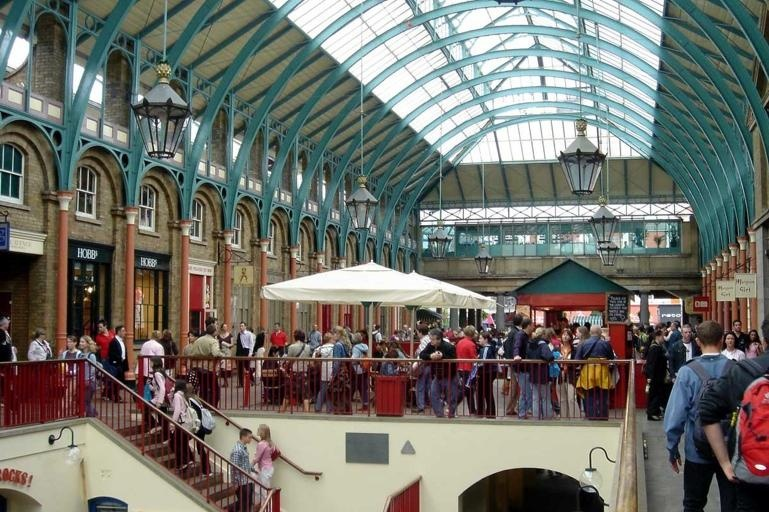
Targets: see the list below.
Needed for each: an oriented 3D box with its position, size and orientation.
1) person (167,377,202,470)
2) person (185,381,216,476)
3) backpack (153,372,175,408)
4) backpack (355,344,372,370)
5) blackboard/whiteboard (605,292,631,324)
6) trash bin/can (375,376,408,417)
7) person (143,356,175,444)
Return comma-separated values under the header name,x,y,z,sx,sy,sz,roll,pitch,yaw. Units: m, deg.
name,x,y,z,sx,sy,sz,roll,pitch,yaw
person,-6.150,5.055,32.610,0.974,2.908,1.008,1,-3,-14
person,-5.701,5.097,32.870,1.010,3.153,0.867,-2,-6,27
backpack,-6.926,4.178,33.303,0.449,0.991,0.902,0,-11,4
backpack,-0.628,3.211,33.748,0.441,0.720,0.243,-5,3,-23
blackboard/whiteboard,8.342,1.830,38.014,0.940,1.539,0.145,0,-7,12
trash bin/can,0.164,4.305,33.091,0.967,1.272,1.206,-1,-3,18
person,-7.115,4.344,33.301,0.892,2.838,0.950,1,0,0
